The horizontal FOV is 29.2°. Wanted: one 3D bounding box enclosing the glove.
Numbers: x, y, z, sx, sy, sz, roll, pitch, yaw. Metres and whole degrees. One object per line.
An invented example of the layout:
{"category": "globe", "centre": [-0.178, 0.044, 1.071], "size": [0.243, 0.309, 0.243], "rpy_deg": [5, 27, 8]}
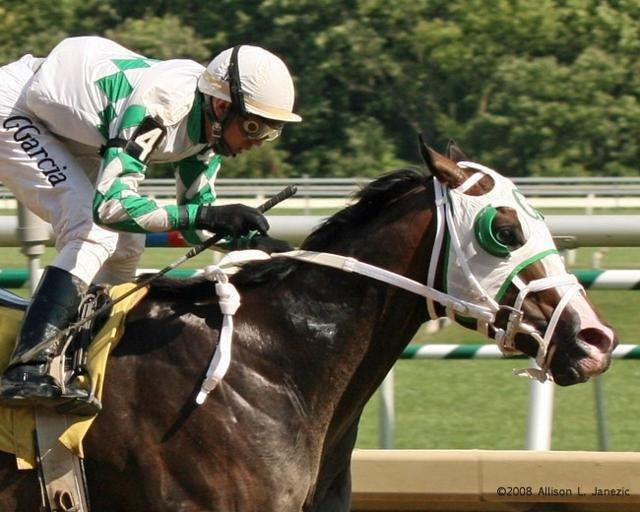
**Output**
{"category": "glove", "centre": [-0.220, -0.104, 4.745], "size": [0.492, 0.133, 0.144], "rpy_deg": [9, 48, -10]}

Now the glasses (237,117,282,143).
{"category": "glasses", "centre": [-0.231, -0.484, 4.767], "size": [0.121, 0.040, 0.100], "rpy_deg": [5, 29, -33]}

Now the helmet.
{"category": "helmet", "centre": [-0.311, -0.696, 4.830], "size": [0.546, 0.203, 0.330], "rpy_deg": [12, 11, -15]}
